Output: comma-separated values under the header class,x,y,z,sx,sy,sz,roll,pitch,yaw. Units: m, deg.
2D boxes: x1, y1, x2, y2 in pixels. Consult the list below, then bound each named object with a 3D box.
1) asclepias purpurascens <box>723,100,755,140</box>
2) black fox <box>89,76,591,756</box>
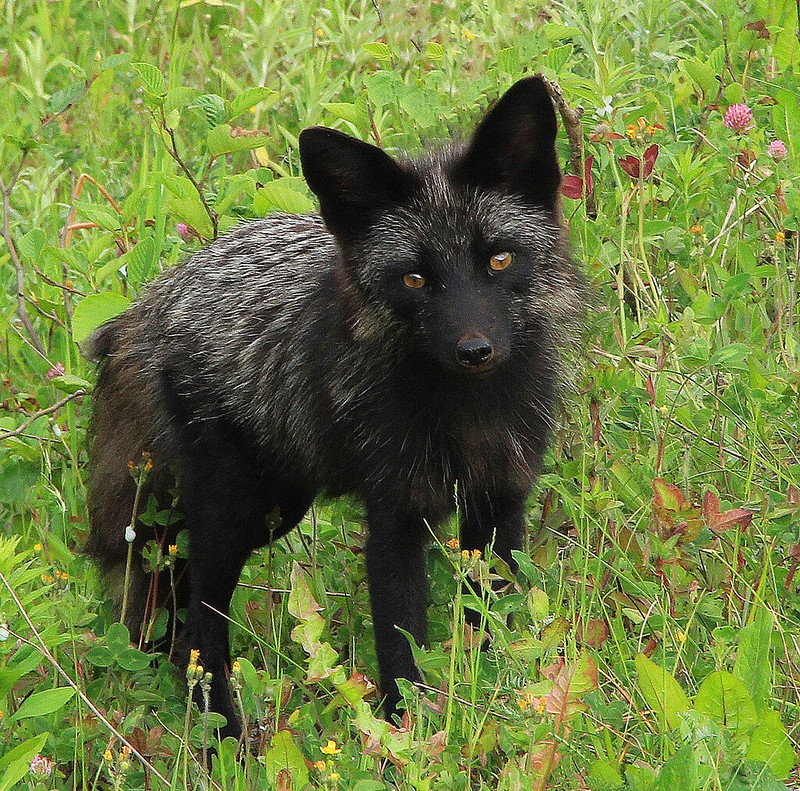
class,x,y,z,sx,sy,sz,roll,pitch,yaw
asclepias purpurascens,1.285,-1.065,3.952,0.142,0.155,0.142,-6,19,5
black fox,-0.227,0.134,3.201,1.748,1.783,0.790,-13,-18,38
